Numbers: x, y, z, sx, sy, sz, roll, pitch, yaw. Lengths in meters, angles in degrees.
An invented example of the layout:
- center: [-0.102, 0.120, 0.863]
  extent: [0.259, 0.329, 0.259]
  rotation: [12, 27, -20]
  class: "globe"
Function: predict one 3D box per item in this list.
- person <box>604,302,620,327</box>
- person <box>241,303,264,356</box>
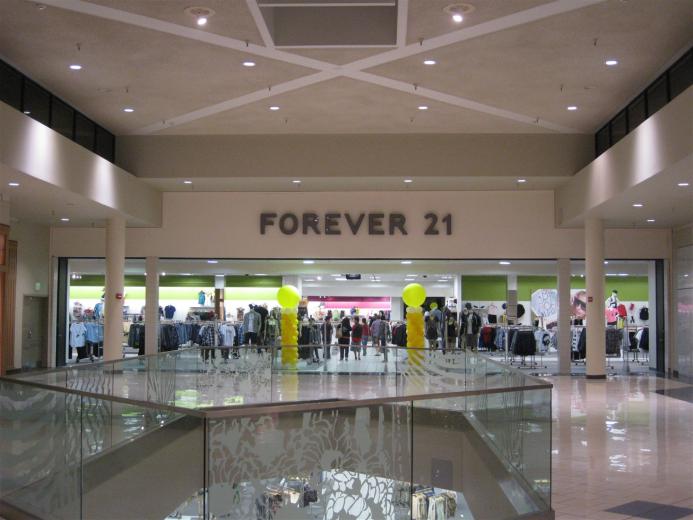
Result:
- center: [10.686, 2.245, 21.249]
  extent: [0.414, 0.751, 1.158]
  rotation: [-5, -7, 28]
  class: "person"
- center: [-2.998, 2.081, 17.078]
  extent: [0.594, 1.269, 1.195]
  rotation: [0, -6, -11]
  class: "person"
